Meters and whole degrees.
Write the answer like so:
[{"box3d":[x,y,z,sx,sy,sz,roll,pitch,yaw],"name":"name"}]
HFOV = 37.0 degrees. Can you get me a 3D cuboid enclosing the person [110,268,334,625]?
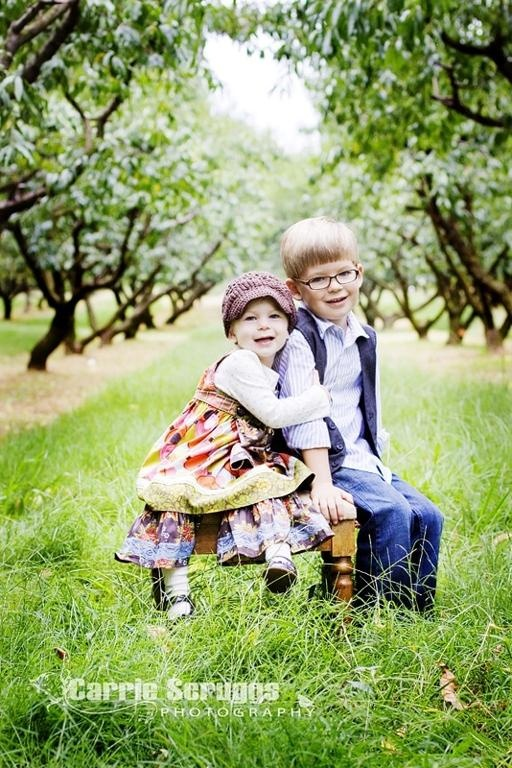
[{"box3d":[-0.068,0.171,2.133,0.663,0.912,0.483,0,4,10],"name":"person"}]
